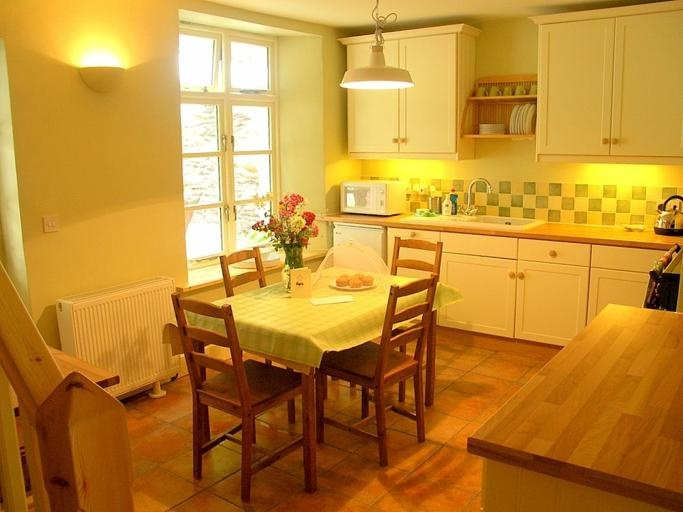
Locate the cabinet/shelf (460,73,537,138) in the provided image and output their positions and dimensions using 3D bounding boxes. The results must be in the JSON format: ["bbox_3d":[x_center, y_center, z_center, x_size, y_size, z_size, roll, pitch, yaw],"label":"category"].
[{"bbox_3d":[1.543,-1.413,4.870,0.775,0.639,0.311,9,7,39],"label":"cabinet/shelf"}]

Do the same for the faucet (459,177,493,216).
[{"bbox_3d":[1.361,-0.602,5.244,0.282,0.366,0.270,-3,14,-9],"label":"faucet"}]

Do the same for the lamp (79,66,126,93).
[{"bbox_3d":[-1.618,-1.204,3.554,0.151,0.168,0.250,8,16,32],"label":"lamp"}]

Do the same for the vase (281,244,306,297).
[{"bbox_3d":[-0.285,0.086,3.391,0.192,0.324,0.193,0,3,-8],"label":"vase"}]

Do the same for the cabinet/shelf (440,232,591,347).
[{"bbox_3d":[1.452,0.317,4.903,1.434,0.904,0.753,6,-7,-10],"label":"cabinet/shelf"}]

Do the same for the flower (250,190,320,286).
[{"bbox_3d":[-0.306,-0.103,3.348,0.341,0.505,0.343,3,1,10],"label":"flower"}]

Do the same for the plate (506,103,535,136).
[{"bbox_3d":[1.660,-1.258,4.794,0.231,0.285,0.188,8,16,33],"label":"plate"}]

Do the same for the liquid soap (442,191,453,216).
[{"bbox_3d":[1.076,-0.543,5.328,0.093,0.215,0.269,1,13,10],"label":"liquid soap"}]

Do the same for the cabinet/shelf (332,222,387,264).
[{"bbox_3d":[0.159,-0.121,5.287,0.441,0.594,0.420,1,-1,39],"label":"cabinet/shelf"}]

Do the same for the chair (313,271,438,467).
[{"bbox_3d":[0.209,0.661,3.243,0.630,1.042,0.621,4,7,33],"label":"chair"}]

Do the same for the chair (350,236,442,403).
[{"bbox_3d":[0.396,0.230,3.777,0.485,0.753,0.531,7,2,27],"label":"chair"}]

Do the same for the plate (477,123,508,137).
[{"bbox_3d":[1.440,-1.210,4.965,0.254,0.116,0.305,2,13,14],"label":"plate"}]

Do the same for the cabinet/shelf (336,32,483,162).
[{"bbox_3d":[0.520,-1.594,5.283,1.334,1.165,0.434,-9,16,-21],"label":"cabinet/shelf"}]

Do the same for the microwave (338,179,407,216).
[{"bbox_3d":[0.337,-0.614,5.531,0.622,0.376,0.483,6,11,29],"label":"microwave"}]
